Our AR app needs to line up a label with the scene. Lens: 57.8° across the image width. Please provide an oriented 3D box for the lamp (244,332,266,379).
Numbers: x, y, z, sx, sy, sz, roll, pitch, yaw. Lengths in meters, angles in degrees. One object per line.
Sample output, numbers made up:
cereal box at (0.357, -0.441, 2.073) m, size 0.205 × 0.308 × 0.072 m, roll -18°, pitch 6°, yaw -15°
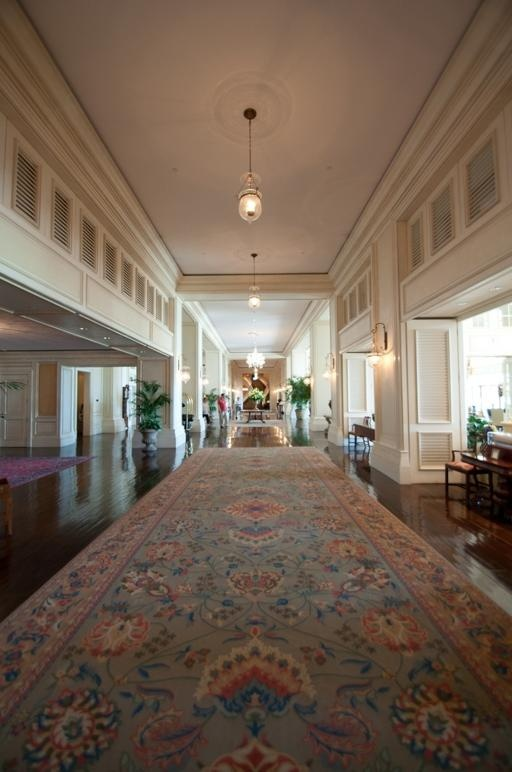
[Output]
lamp at (-0.016, -1.127, 16.159) m, size 0.524 × 1.465 × 0.539 m, roll -1°, pitch 6°, yaw -10°

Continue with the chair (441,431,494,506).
chair at (2.517, 1.088, 5.631) m, size 0.537 × 0.991 × 0.553 m, roll 4°, pitch -7°, yaw -12°

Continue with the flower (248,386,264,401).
flower at (0.086, 0.320, 20.518) m, size 0.561 × 0.508 × 0.572 m, roll 1°, pitch 0°, yaw -9°

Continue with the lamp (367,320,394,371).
lamp at (1.829, -0.615, 7.021) m, size 0.252 × 0.714 × 0.919 m, roll 0°, pitch 5°, yaw 5°

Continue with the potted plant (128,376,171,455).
potted plant at (-2.297, 0.657, 9.763) m, size 0.703 × 1.347 × 0.781 m, roll 0°, pitch -4°, yaw 3°
